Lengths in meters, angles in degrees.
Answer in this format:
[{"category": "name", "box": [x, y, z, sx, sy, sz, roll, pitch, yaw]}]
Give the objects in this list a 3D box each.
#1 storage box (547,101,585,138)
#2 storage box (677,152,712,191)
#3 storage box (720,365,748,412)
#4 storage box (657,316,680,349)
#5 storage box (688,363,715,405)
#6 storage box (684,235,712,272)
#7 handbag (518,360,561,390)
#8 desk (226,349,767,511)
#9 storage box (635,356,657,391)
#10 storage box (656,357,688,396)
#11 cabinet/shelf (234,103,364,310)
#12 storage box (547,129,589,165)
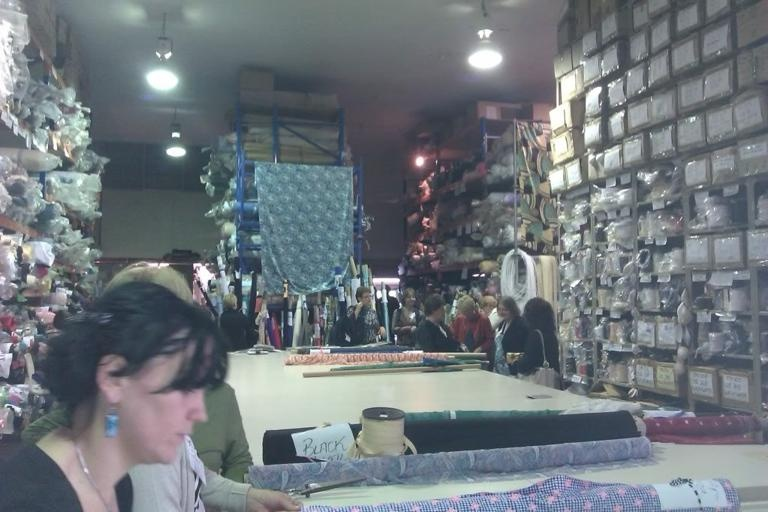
[{"category": "storage box", "box": [2.009, -1.537, 7.262, 0.269, 0.362, 0.516, -1, 0, -11]}, {"category": "storage box", "box": [2.674, -0.728, 5.585, 0.071, 0.231, 0.208, 1, -1, -28]}, {"category": "storage box", "box": [2.807, 1.057, 5.351, 0.233, 0.342, 0.338, 0, 0, -3]}, {"category": "storage box", "box": [2.560, 0.674, 5.879, 0.093, 0.280, 0.270, 2, -9, -14]}, {"category": "storage box", "box": [2.684, 1.060, 5.502, 0.222, 0.311, 0.302, 0, -2, -4]}, {"category": "storage box", "box": [2.685, -0.029, 5.579, 0.076, 0.238, 0.235, -1, 21, -10]}, {"category": "handbag", "box": [1.378, 1.003, 5.598, 0.205, 0.164, 0.282, 1, -7, -10]}, {"category": "desk", "box": [0.278, 0.974, 3.920, 3.486, 0.738, 2.017, -6, -11, 31]}, {"category": "storage box", "box": [2.413, 1.088, 6.034, 0.192, 0.268, 0.363, -1, -3, 3]}, {"category": "storage box", "box": [2.507, 1.053, 5.850, 0.243, 0.348, 0.334, 0, 0, -12]}, {"category": "cabinet/shelf", "box": [-1.213, -0.765, 8.993, 1.679, 2.851, 1.079, 1, -8, -12]}, {"category": "storage box", "box": [2.043, -1.126, 7.261, 0.262, 0.367, 0.498, -5, -2, -15]}]
